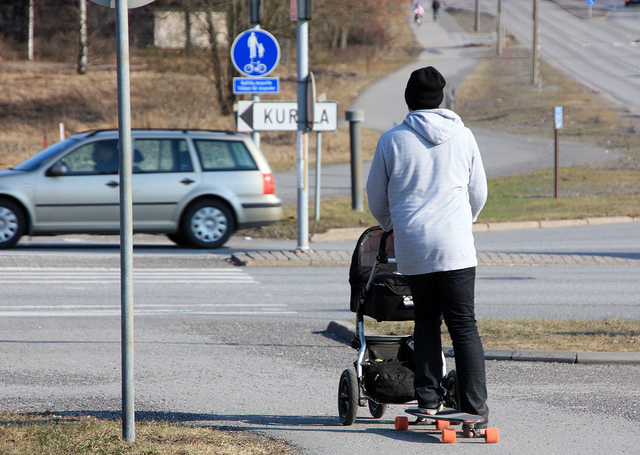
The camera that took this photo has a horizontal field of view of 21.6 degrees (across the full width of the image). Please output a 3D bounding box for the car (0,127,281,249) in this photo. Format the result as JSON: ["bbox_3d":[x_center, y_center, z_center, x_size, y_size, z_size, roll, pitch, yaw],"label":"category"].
[{"bbox_3d":[-5.438,-1.165,50.809,7.879,2.954,3.471,2,0,-7],"label":"car"}]
